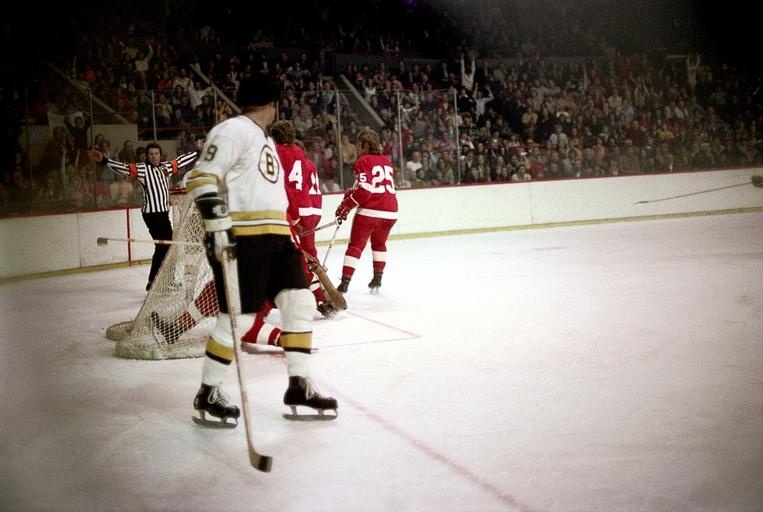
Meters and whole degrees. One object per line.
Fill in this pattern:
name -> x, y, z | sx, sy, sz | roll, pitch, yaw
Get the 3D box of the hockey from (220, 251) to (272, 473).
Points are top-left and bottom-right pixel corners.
hockey -> -1.074, 0.844, 5.388 | 0.184, 1.647, 0.131 | -12, -25, -1

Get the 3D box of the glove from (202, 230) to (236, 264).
glove -> -1.210, -0.080, 5.078 | 0.193, 0.257, 0.091 | -1, 2, 0

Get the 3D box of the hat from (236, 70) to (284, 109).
hat -> -0.964, -1.304, 5.395 | 0.317, 0.320, 0.254 | -5, 6, -15

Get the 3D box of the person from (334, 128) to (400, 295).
person -> -0.195, -0.592, 9.361 | 0.596, 2.213, 1.015 | 6, 16, 29
